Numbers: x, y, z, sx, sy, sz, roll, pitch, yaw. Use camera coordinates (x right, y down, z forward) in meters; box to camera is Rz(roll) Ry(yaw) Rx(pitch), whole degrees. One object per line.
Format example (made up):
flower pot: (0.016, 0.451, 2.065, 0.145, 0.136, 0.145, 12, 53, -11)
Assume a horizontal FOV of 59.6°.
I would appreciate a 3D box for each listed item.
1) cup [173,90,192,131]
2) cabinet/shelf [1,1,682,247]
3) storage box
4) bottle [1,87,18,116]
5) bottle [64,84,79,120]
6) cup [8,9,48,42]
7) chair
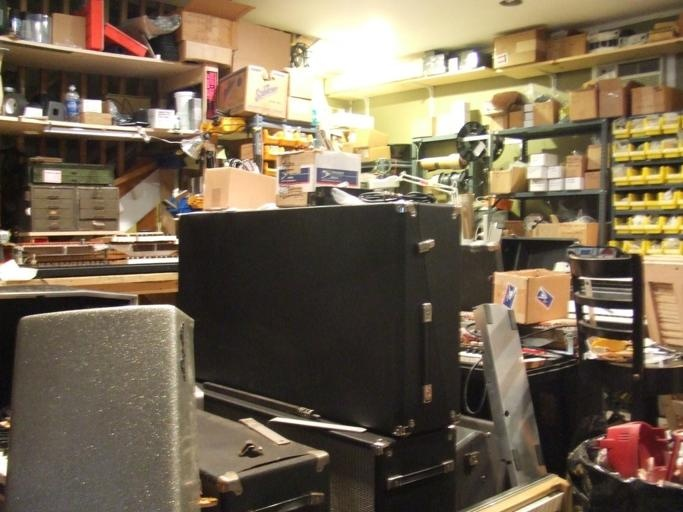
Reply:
cup: (-1.328, -1.240, 5.039, 0.147, 0.360, 0.194, 0, 4, -11)
cabinet/shelf: (0.012, -1.351, 6.556, 5.955, 2.226, 3.771, 0, 4, -10)
storage box: (0.928, 0.196, 2.997, 0.313, 0.201, 0.309, -6, 5, -38)
bottle: (-2.410, -1.136, 4.344, 0.092, 0.212, 0.097, 1, 4, 0)
bottle: (-2.134, -1.238, 4.739, 0.112, 0.325, 0.270, -1, 5, -24)
cup: (-2.277, -1.707, 4.391, 0.303, 0.280, 0.182, 11, 15, 15)
chair: (1.085, 0.337, 2.357, 0.391, 0.744, 0.498, 1, 4, 8)
